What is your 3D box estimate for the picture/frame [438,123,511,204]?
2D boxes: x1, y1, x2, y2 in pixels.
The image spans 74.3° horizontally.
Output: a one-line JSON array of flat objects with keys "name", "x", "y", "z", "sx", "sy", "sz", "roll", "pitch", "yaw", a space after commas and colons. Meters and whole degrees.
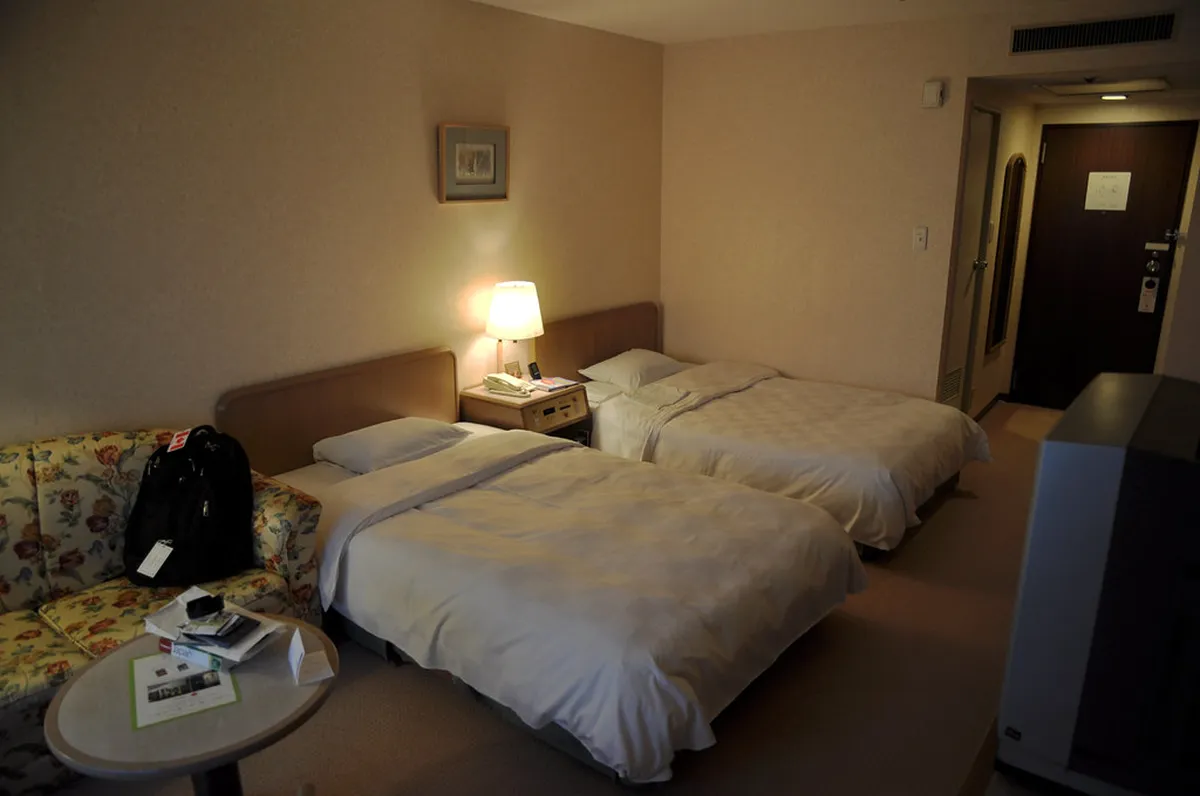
[{"name": "picture/frame", "x": -0.871, "y": -1.563, "z": 5.253, "sx": 0.059, "sy": 0.437, "sz": 0.529, "roll": 14, "pitch": 19, "yaw": 42}]

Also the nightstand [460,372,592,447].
[{"name": "nightstand", "x": -0.517, "y": 0.215, "z": 5.582, "sx": 0.601, "sy": 0.613, "sz": 0.706, "roll": 12, "pitch": 18, "yaw": 34}]

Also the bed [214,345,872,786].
[{"name": "bed", "x": -0.505, "y": 0.657, "z": 4.077, "sx": 2.763, "sy": 1.129, "sz": 1.896, "roll": 16, "pitch": 28, "yaw": 34}]

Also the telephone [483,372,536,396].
[{"name": "telephone", "x": -0.624, "y": -0.094, "z": 5.374, "sx": 0.226, "sy": 0.073, "sz": 0.172, "roll": 5, "pitch": 14, "yaw": 26}]

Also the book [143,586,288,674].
[{"name": "book", "x": -1.575, "y": 0.912, "z": 3.146, "sx": 0.382, "sy": 0.123, "sz": 0.301, "roll": 13, "pitch": 23, "yaw": 25}]

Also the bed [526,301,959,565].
[{"name": "bed", "x": 1.073, "y": 0.094, "z": 5.841, "sx": 2.958, "sy": 1.196, "sz": 1.938, "roll": 13, "pitch": 21, "yaw": 40}]
